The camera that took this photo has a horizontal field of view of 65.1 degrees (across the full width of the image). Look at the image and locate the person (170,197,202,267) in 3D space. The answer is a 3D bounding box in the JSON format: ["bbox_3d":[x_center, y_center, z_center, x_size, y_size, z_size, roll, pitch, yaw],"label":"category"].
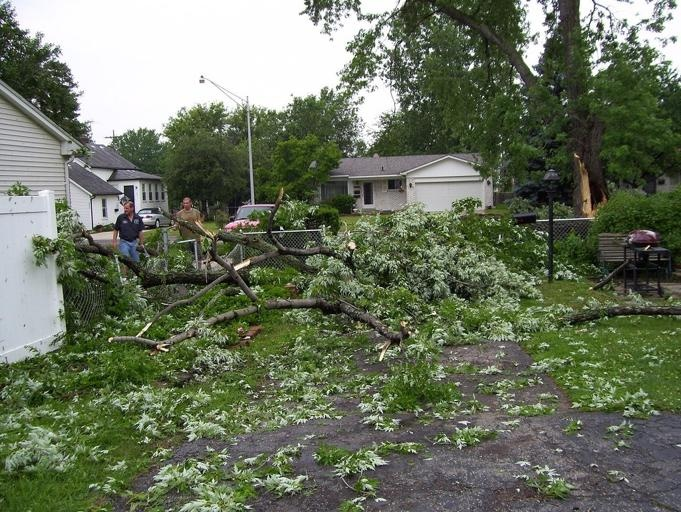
[{"bbox_3d":[-3.939,-0.451,13.761,0.579,2.100,0.921,6,15,40],"label":"person"}]

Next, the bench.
[{"bbox_3d":[6.804,-0.116,12.669,1.188,0.971,1.278,-1,-1,5],"label":"bench"}]

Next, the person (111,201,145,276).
[{"bbox_3d":[-4.987,-0.588,12.549,0.678,1.407,0.764,-9,12,-33],"label":"person"}]

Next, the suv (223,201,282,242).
[{"bbox_3d":[-3.193,-1.321,18.427,1.606,1.558,3.216,-2,-2,-7],"label":"suv"}]
